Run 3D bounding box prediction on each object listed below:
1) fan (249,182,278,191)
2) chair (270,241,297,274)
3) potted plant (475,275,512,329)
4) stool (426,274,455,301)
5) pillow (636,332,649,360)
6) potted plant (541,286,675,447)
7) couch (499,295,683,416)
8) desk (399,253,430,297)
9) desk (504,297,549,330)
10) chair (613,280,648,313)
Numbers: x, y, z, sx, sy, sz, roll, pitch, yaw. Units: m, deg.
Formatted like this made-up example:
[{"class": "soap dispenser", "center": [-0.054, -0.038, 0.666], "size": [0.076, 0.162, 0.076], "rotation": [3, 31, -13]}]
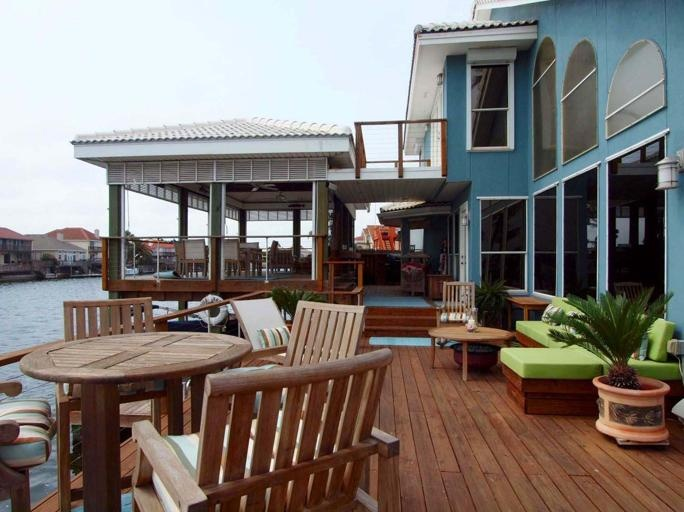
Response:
[{"class": "fan", "center": [-2.066, -1.790, 14.331], "size": [0.724, 0.251, 1.030], "rotation": [-3, 12, -9]}, {"class": "chair", "center": [-1.631, 0.103, 14.363], "size": [0.649, 0.924, 1.230], "rotation": [-1, 2, 4]}, {"class": "potted plant", "center": [2.741, 0.803, 10.078], "size": [0.808, 1.203, 0.889], "rotation": [0, 3, 21]}, {"class": "stool", "center": [2.129, 0.681, 11.917], "size": [0.581, 0.587, 0.596], "rotation": [0, -2, 7]}, {"class": "pillow", "center": [3.163, 0.970, 5.763], "size": [0.094, 0.268, 0.280], "rotation": [14, -19, 25]}, {"class": "potted plant", "center": [2.990, 1.133, 5.983], "size": [1.396, 1.552, 1.432], "rotation": [-1, -5, 0]}, {"class": "couch", "center": [2.569, 0.820, 6.248], "size": [1.125, 0.647, 1.805], "rotation": [1, 0, 7]}, {"class": "desk", "center": [1.678, 0.379, 13.377], "size": [0.598, 1.100, 1.047], "rotation": [-1, 7, 2]}, {"class": "desk", "center": [3.226, 1.109, 9.487], "size": [0.475, 0.707, 1.009], "rotation": [0, 0, 4]}, {"class": "chair", "center": [3.221, 0.463, 6.069], "size": [0.243, 0.414, 0.282], "rotation": [-9, -14, 19]}]
